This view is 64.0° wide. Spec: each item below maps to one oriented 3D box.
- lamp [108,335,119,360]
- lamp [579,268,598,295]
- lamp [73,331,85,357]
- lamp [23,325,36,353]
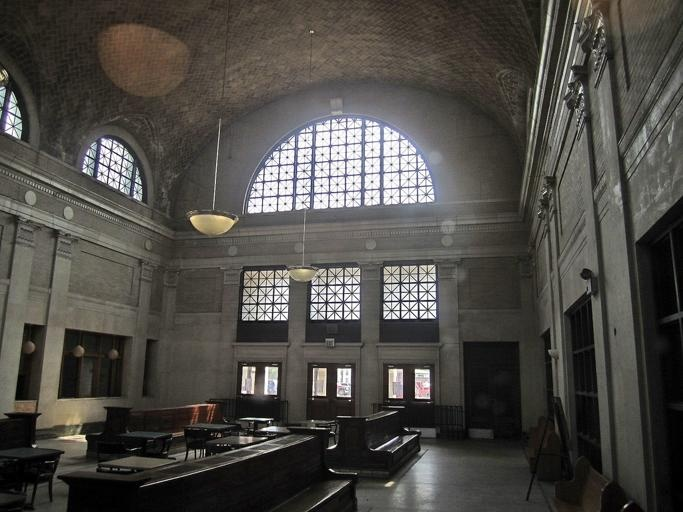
[{"bbox_3d":[-8.499,3.399,20.408,0.425,0.856,0.790,5,-17,-22],"label":"lamp"},{"bbox_3d":[4.027,0.400,8.896,0.208,0.455,0.552,-8,-17,20],"label":"lamp"},{"bbox_3d":[-9.067,3.026,18.888,0.408,0.886,0.821,6,-18,-25],"label":"lamp"},{"bbox_3d":[-9.739,2.569,17.076,0.373,0.881,0.658,7,-18,-28],"label":"lamp"}]
